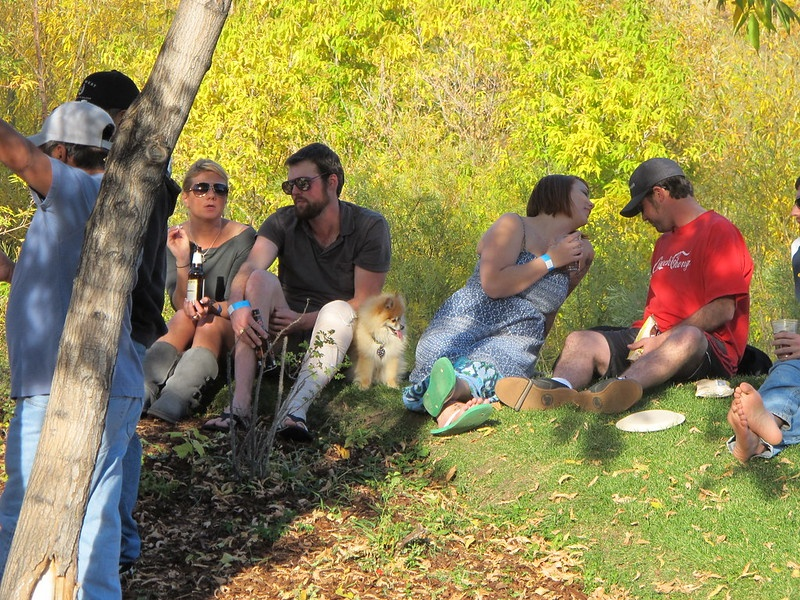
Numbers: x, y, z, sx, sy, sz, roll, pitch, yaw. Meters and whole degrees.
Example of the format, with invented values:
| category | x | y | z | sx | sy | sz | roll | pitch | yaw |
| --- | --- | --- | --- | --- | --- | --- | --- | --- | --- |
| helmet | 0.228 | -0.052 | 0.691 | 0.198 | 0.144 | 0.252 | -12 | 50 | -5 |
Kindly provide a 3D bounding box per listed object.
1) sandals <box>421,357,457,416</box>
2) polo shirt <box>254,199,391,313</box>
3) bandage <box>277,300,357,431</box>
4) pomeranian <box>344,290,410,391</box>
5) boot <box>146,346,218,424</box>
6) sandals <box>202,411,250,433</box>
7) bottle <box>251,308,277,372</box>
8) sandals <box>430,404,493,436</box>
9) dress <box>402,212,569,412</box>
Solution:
| category | x | y | z | sx | sy | sz | roll | pitch | yaw |
| --- | --- | --- | --- | --- | --- | --- | --- | --- | --- |
| sandals | 0.285 | 0.641 | 5.599 | 0.147 | 0.432 | 0.218 | -8 | 41 | -37 |
| polo shirt | -0.606 | -0.383 | 6.911 | 0.901 | 1.167 | 0.768 | 0 | 11 | -10 |
| bandage | -0.588 | 0.449 | 6.069 | 0.298 | 0.355 | 1.314 | 23 | 53 | -7 |
| pomeranian | -0.154 | 0.355 | 6.879 | 0.500 | 0.840 | 0.575 | 6 | 10 | 2 |
| boot | -1.728 | 0.688 | 6.165 | 0.448 | 0.652 | 0.459 | -5 | 13 | -38 |
| sandals | -1.296 | 0.886 | 5.804 | 0.185 | 0.128 | 0.456 | -3 | -6 | 27 |
| bottle | -1.107 | 0.309 | 6.241 | 0.132 | 0.550 | 0.161 | 0 | 32 | 17 |
| sandals | 0.445 | 0.835 | 5.606 | 0.214 | 0.464 | 0.171 | 9 | 51 | -37 |
| dress | 0.691 | 0.173 | 6.361 | 0.990 | 1.547 | 0.988 | 9 | 15 | -16 |
